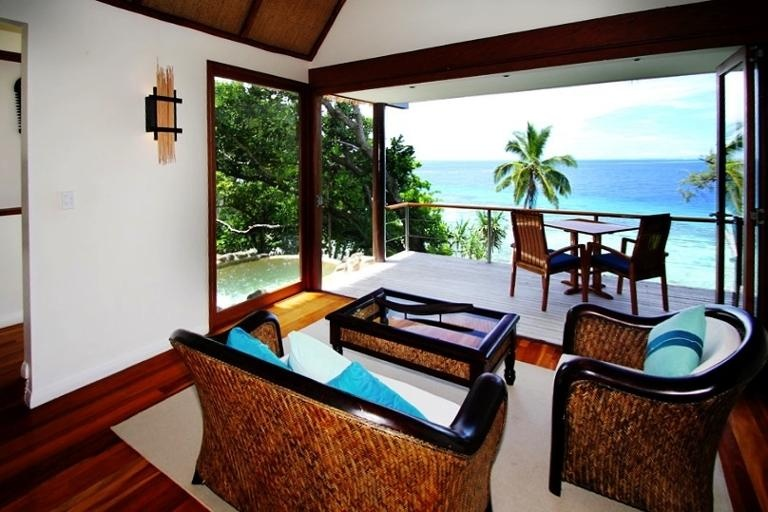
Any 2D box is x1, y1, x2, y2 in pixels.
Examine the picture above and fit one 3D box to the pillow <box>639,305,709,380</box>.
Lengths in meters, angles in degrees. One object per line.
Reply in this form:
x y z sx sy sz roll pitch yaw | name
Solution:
1.759 0.608 3.092 0.407 0.129 0.422 -9 30 -35 | pillow
